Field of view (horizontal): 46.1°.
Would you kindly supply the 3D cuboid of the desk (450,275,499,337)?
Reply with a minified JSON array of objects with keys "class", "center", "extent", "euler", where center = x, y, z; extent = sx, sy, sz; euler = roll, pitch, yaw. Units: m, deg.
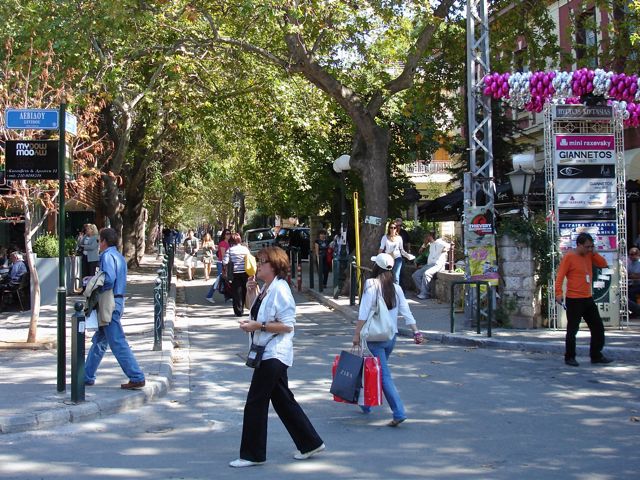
[{"class":"desk","center":[3.241,1.370,15.789],"extent":[1.083,1.387,0.957],"euler":[0,0,1]}]

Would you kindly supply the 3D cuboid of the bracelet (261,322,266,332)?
[{"class":"bracelet","center":[-0.648,0.987,8.598],"extent":[0.069,0.095,0.045],"euler":[-1,-2,20]}]

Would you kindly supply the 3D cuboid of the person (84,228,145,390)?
[{"class":"person","center":[-3.060,0.999,11.135],"extent":[0.923,2.363,0.588],"euler":[-1,-2,4]}]

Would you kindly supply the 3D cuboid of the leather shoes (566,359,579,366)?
[{"class":"leather shoes","center":[4.338,2.116,13.010],"extent":[0.082,0.106,0.225],"euler":[0,7,-28]}]

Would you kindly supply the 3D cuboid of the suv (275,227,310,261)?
[{"class":"suv","center":[-1.338,0.090,37.876],"extent":[1.197,1.137,2.080],"euler":[-1,10,-14]}]

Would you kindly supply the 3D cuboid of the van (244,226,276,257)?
[{"class":"van","center":[-3.109,0.001,39.134],"extent":[1.602,1.487,2.845],"euler":[-4,14,-12]}]

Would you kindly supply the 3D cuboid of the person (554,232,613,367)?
[{"class":"person","center":[4.494,1.030,13.131],"extent":[0.962,2.284,0.464],"euler":[0,-2,-25]}]

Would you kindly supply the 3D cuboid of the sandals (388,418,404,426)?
[{"class":"sandals","center":[0.996,2.363,9.792],"extent":[0.196,0.112,0.220],"euler":[-1,-2,5]}]

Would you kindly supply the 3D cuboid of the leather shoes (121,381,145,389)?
[{"class":"leather shoes","center":[-2.719,2.111,11.012],"extent":[0.340,0.155,0.127],"euler":[3,0,4]}]

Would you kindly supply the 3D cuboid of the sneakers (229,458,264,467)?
[{"class":"sneakers","center":[-0.839,2.526,8.548],"extent":[0.391,0.086,0.078],"euler":[-1,-2,-4]}]

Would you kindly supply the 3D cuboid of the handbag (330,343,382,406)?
[{"class":"handbag","center":[0.487,1.797,9.901],"extent":[0.907,0.930,0.501],"euler":[-1,-3,30]}]

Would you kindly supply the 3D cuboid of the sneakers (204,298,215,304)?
[{"class":"sneakers","center":[-3.181,1.787,21.938],"extent":[0.306,0.115,0.132],"euler":[23,-57,-38]}]

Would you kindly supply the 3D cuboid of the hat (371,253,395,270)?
[{"class":"hat","center":[0.835,0.249,10.234],"extent":[0.191,0.139,0.269],"euler":[-19,48,-42]}]

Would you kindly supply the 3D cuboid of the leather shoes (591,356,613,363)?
[{"class":"leather shoes","center":[4.917,2.094,13.163],"extent":[0.342,0.166,0.130],"euler":[-2,2,-2]}]

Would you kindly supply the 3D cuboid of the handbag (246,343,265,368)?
[{"class":"handbag","center":[-0.755,1.320,8.578],"extent":[0.212,0.257,0.129],"euler":[-2,-2,32]}]
